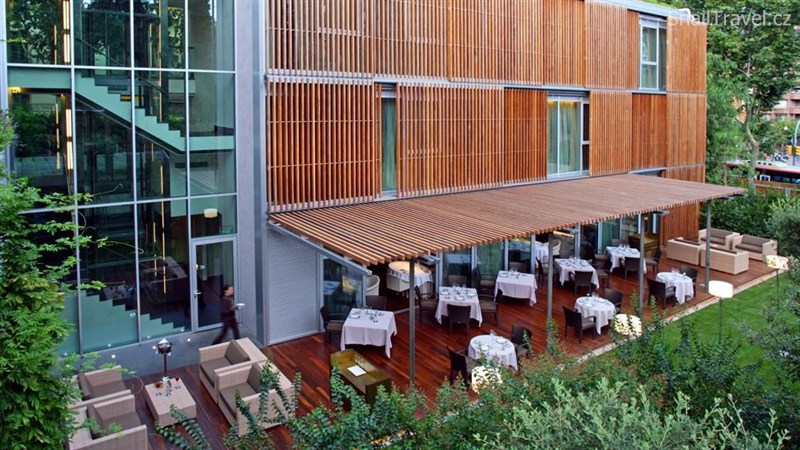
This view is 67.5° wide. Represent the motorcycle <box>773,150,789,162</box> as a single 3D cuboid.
[{"bbox_3d":[35.460,-6.355,55.700,1.723,0.794,2.413,5,15,15],"label":"motorcycle"}]
